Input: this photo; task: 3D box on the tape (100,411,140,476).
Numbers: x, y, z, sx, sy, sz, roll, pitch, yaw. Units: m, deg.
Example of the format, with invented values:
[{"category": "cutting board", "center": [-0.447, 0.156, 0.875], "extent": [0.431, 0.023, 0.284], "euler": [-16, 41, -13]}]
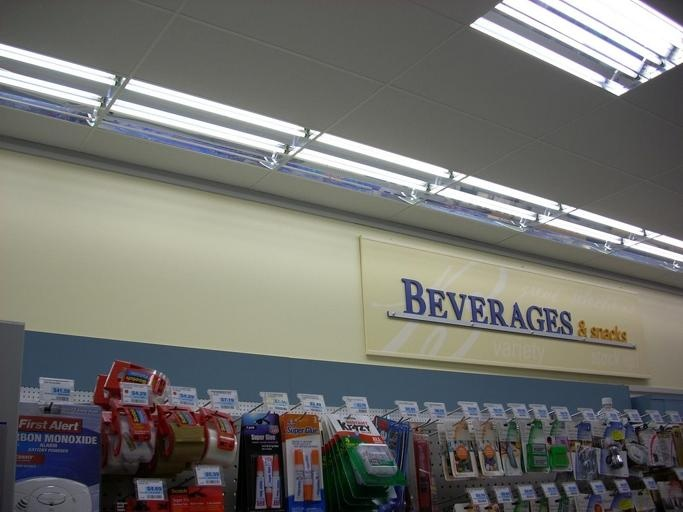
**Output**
[{"category": "tape", "center": [-0.855, 0.786, 2.059], "extent": [0.185, 0.255, 0.235], "euler": [6, -10, -17]}]

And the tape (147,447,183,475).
[{"category": "tape", "center": [-0.742, 0.876, 2.087], "extent": [0.125, 0.110, 0.159], "euler": [18, -29, -40]}]

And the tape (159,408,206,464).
[{"category": "tape", "center": [-0.705, 0.748, 2.145], "extent": [0.175, 0.264, 0.137], "euler": [22, -52, -40]}]

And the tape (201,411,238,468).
[{"category": "tape", "center": [-0.550, 0.799, 2.240], "extent": [0.148, 0.272, 0.135], "euler": [9, -14, -30]}]
